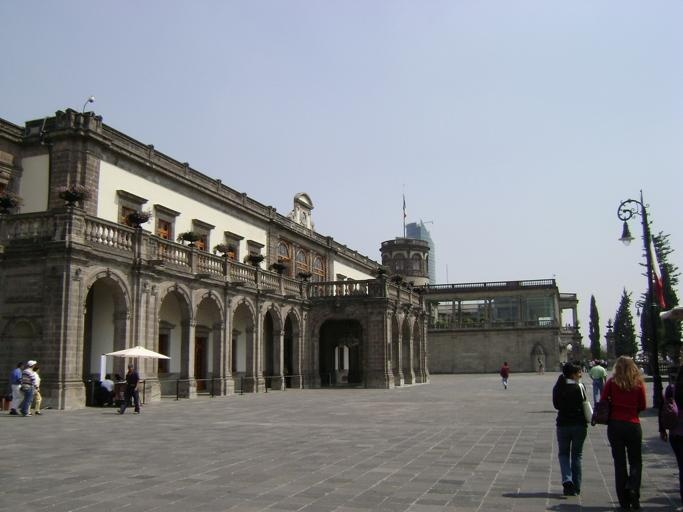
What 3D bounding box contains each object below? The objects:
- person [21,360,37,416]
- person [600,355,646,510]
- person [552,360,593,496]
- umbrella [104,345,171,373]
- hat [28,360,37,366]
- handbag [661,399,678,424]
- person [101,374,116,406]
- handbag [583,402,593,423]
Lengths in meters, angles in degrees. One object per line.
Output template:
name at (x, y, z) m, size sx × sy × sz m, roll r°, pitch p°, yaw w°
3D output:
person at (-10.443, 4.386, 21.636) m, size 0.467 × 1.804 × 1.519 m, roll 3°, pitch -13°, yaw -26°
person at (4.719, 2.874, 10.719) m, size 0.688 × 2.438 × 0.375 m, roll -6°, pitch -12°, yaw 12°
person at (4.093, 2.988, 11.435) m, size 0.636 × 2.247 × 0.786 m, roll -7°, pitch -12°, yaw 16°
umbrella at (-7.913, 3.829, 25.258) m, size 1.470 × 0.509 × 1.464 m, roll -12°, pitch -25°, yaw 34°
hat at (-10.244, 3.510, 21.359) m, size 0.410 × 0.154 × 0.414 m, roll 1°, pitch -3°, yaw -26°
handbag at (5.310, 2.539, 10.498) m, size 0.215 × 0.424 × 0.125 m, roll -5°, pitch -12°, yaw 6°
person at (-9.261, 5.232, 25.682) m, size 0.485 × 1.193 × 1.527 m, roll 1°, pitch -13°, yaw -20°
handbag at (4.266, 2.678, 11.239) m, size 0.121 × 0.409 × 0.284 m, roll 0°, pitch -5°, yaw 14°
